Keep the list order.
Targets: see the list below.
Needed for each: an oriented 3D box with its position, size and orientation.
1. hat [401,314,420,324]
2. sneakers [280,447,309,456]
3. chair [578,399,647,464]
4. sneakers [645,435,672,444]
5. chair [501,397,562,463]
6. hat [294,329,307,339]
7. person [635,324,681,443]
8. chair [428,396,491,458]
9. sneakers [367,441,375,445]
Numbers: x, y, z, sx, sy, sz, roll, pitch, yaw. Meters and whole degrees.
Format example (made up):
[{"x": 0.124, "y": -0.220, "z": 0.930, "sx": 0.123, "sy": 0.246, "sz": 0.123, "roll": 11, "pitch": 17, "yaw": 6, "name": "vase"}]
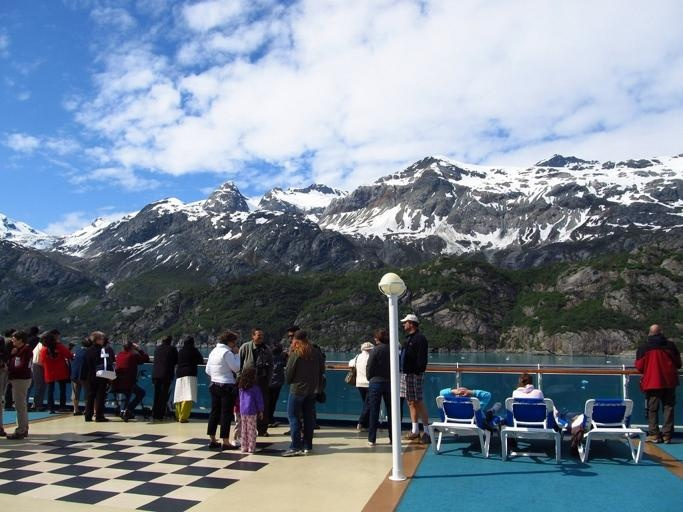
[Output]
[{"x": 1.608, "y": 1.419, "z": 15.640, "sx": 0.456, "sy": 0.225, "sz": 0.318, "roll": 1, "pitch": -12, "yaw": 12, "name": "hat"}, {"x": -0.977, "y": 4.313, "z": 14.633, "sx": 0.632, "sy": 0.256, "sz": 0.207, "roll": 11, "pitch": -20, "yaw": -18, "name": "sneakers"}, {"x": 5.757, "y": 3.719, "z": 14.660, "sx": 1.267, "sy": 1.245, "sz": 2.233, "roll": -1, "pitch": -7, "yaw": 5, "name": "chair"}, {"x": 7.350, "y": 4.187, "z": 15.383, "sx": 0.527, "sy": 0.220, "sz": 0.206, "roll": -3, "pitch": -8, "yaw": 34, "name": "sneakers"}, {"x": 4.183, "y": 3.619, "z": 14.670, "sx": 1.175, "sy": 1.193, "sz": 1.983, "roll": -2, "pitch": -3, "yaw": 16, "name": "chair"}, {"x": -0.894, "y": 1.761, "z": 15.007, "sx": 0.257, "sy": 0.251, "sz": 0.325, "roll": 1, "pitch": -15, "yaw": -5, "name": "hat"}, {"x": 7.556, "y": 2.910, "z": 15.621, "sx": 0.812, "sy": 2.753, "sz": 0.997, "roll": 9, "pitch": -17, "yaw": -30, "name": "person"}, {"x": 2.638, "y": 3.736, "z": 14.722, "sx": 1.275, "sy": 1.315, "sz": 0.756, "roll": -4, "pitch": -16, "yaw": 15, "name": "chair"}, {"x": 0.730, "y": 4.291, "z": 15.342, "sx": 0.167, "sy": 0.117, "sz": 0.088, "roll": 2, "pitch": -14, "yaw": -4, "name": "sneakers"}]
